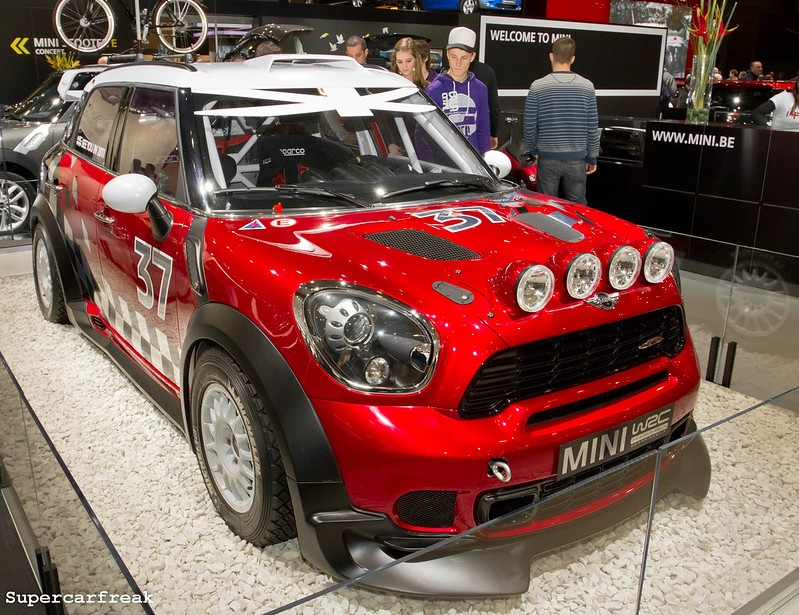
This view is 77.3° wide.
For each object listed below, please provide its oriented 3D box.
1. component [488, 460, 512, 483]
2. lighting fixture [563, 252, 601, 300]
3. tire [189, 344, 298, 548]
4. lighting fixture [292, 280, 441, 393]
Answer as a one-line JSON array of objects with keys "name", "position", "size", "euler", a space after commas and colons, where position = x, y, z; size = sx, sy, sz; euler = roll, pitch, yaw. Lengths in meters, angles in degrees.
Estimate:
[{"name": "component", "position": [0.309, 0.498, 1.531], "size": [0.077, 0.058, 0.026], "euler": [14, 15, 23]}, {"name": "lighting fixture", "position": [0.667, -0.112, 1.778], "size": [0.230, 0.161, 0.058], "euler": [-15, 25, -40]}, {"name": "tire", "position": [-0.620, 0.528, 1.888], "size": [0.199, 0.699, 0.681], "euler": [-14, 2, -27]}, {"name": "lighting fixture", "position": [-0.114, 0.098, 1.575], "size": [0.485, 0.268, 0.191], "euler": [9, 20, 22]}]
